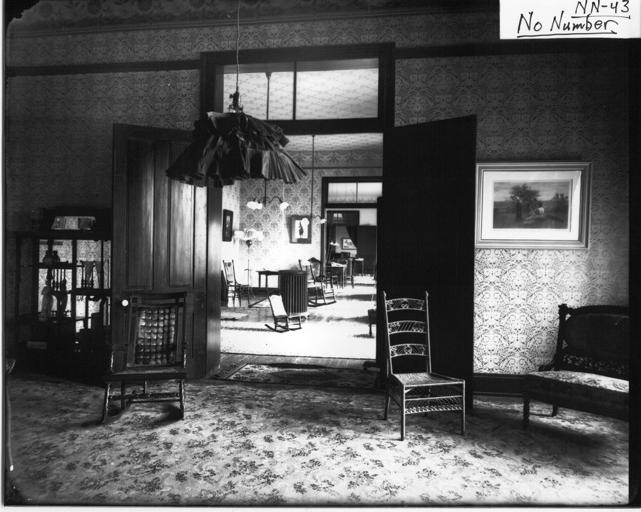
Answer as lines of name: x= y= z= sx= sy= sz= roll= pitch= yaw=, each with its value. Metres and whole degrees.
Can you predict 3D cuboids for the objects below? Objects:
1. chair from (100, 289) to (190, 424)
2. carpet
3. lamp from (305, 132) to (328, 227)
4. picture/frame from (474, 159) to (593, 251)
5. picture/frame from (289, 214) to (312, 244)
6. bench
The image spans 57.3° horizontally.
chair: x=-1.756 y=0.954 z=5.955 sx=0.776 sy=1.257 sz=1.114 roll=1 pitch=0 yaw=-14
carpet: x=-0.199 y=1.371 z=6.850 sx=1.883 sy=0.012 sz=2.237 roll=2 pitch=-4 yaw=12
lamp: x=-0.193 y=-1.592 z=12.620 sx=0.520 sy=2.124 sz=0.565 roll=5 pitch=33 yaw=4
picture/frame: x=2.306 y=-0.558 z=6.220 sx=0.856 sy=0.812 sz=0.072 roll=0 pitch=-1 yaw=6
picture/frame: x=-0.449 y=-0.645 z=13.090 sx=0.559 sy=0.769 sz=0.061 roll=0 pitch=4 yaw=6
bench: x=2.586 y=1.104 z=5.620 sx=0.780 sy=1.084 sz=1.094 roll=1 pitch=1 yaw=-35
